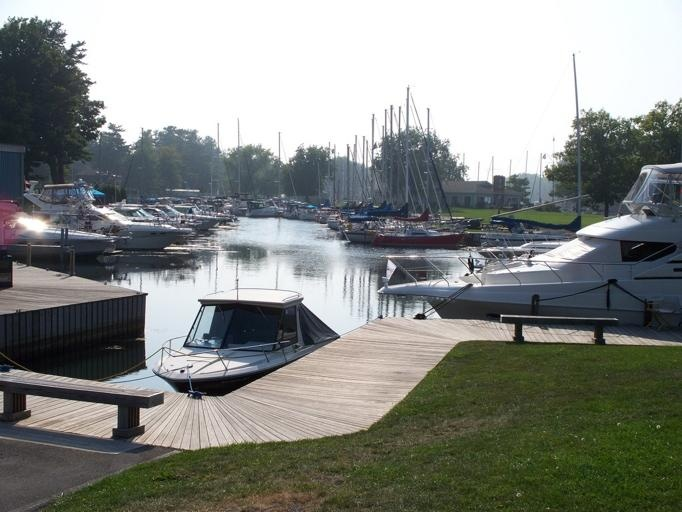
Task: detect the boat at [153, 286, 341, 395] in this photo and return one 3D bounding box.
[{"bbox_3d":[-2.335,2.012,18.349,1.958,1.656,4.210,5,10,28],"label":"boat"}]

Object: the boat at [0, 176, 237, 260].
[{"bbox_3d":[-13.178,-2.031,45.224,12.769,4.401,3.764,-1,9,-35],"label":"boat"}]
